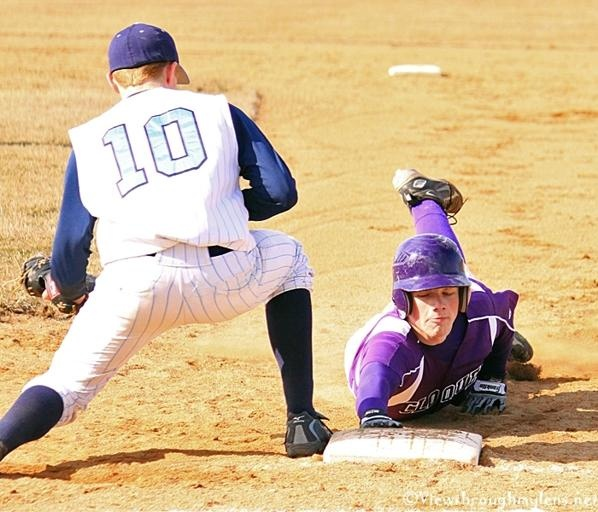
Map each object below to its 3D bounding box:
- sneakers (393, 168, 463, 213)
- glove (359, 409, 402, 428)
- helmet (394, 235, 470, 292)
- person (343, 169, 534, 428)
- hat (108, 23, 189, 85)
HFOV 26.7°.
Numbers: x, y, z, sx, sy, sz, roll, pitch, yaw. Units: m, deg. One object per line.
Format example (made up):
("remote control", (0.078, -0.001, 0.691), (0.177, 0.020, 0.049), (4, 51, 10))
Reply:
("sneakers", (0.996, -0.517, 10.248), (0.596, 0.277, 0.242), (20, 67, 23))
("glove", (0.525, 1.073, 8.300), (0.301, 0.114, 0.097), (-3, 5, 3))
("helmet", (0.897, 0.025, 8.655), (0.543, 0.312, 0.678), (-7, 9, -4))
("person", (0.837, 0.338, 8.997), (1.188, 0.743, 1.700), (-14, 42, -9))
("hat", (-0.985, -1.439, 8.482), (0.422, 0.283, 0.596), (-1, 12, 24))
